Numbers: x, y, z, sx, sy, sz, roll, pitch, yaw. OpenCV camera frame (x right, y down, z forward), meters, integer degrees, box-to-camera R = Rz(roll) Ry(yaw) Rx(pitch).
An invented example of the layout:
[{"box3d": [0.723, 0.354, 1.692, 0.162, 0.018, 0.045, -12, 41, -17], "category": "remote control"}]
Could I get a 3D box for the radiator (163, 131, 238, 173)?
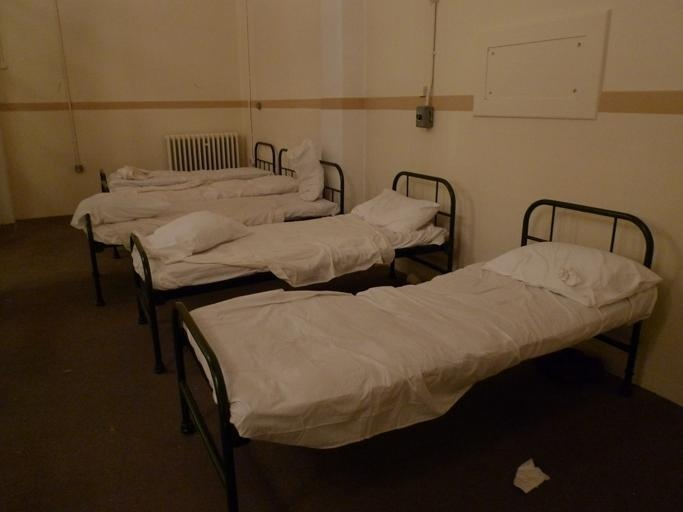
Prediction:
[{"box3d": [-1.982, -1.435, 7.186, 0.671, 0.657, 0.119, -9, 23, -24], "category": "radiator"}]
